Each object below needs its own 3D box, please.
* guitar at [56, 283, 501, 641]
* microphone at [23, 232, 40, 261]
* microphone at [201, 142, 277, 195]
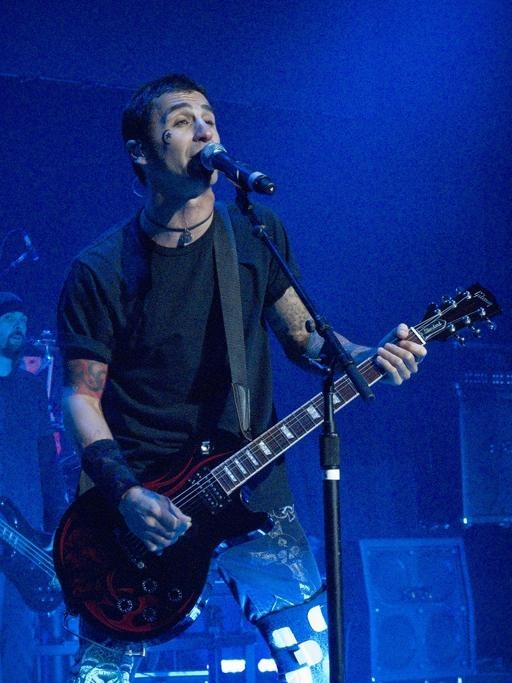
[{"bbox_3d":[0.024,0.016,3.352,0.995,0.238,2.859,6,30,-16],"label":"guitar"},{"bbox_3d":[-1.193,-0.502,4.162,0.047,0.190,0.052,-34,28,-27],"label":"microphone"},{"bbox_3d":[-0.067,-0.541,2.413,0.074,0.205,0.472,-5,6,-20],"label":"microphone"}]
